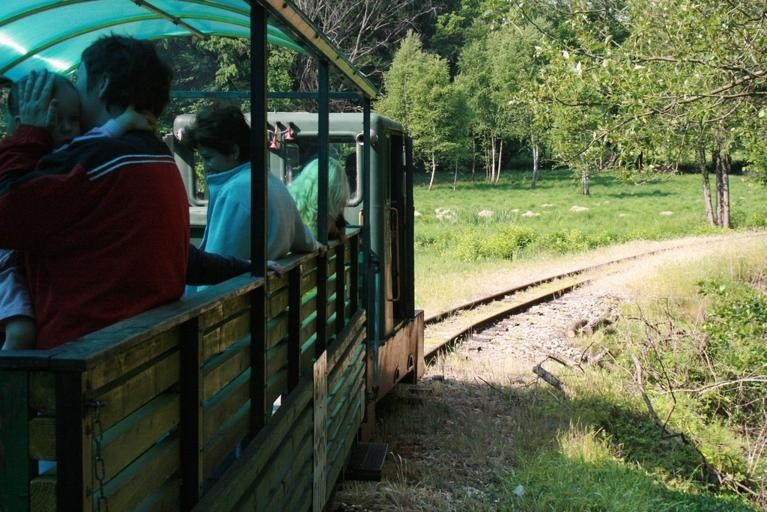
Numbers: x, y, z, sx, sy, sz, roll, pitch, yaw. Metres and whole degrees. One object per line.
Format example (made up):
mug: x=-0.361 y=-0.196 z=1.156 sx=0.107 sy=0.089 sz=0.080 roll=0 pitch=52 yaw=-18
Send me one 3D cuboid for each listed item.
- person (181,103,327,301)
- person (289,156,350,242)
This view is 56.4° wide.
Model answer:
person: x=-0.950 y=-0.439 z=4.853 sx=0.560 sy=1.110 sz=1.150 roll=-12 pitch=4 yaw=22
person: x=-0.573 y=-0.556 z=6.400 sx=0.470 sy=0.798 sz=0.723 roll=2 pitch=8 yaw=7
